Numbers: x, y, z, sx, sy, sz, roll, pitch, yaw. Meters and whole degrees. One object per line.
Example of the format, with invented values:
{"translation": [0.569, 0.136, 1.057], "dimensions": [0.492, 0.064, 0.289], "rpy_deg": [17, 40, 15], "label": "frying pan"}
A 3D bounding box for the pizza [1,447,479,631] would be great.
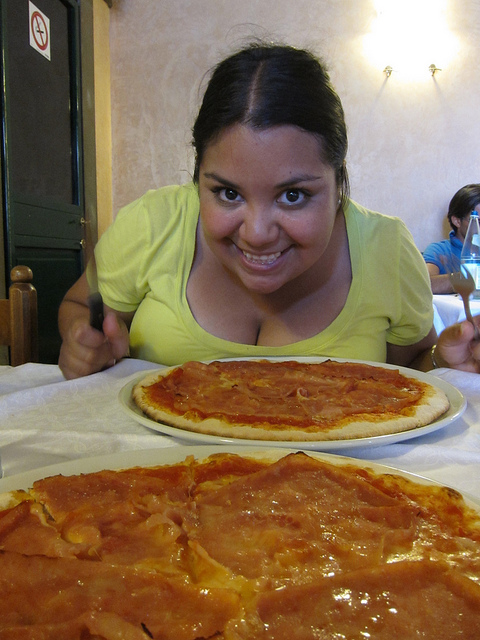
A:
{"translation": [-0.003, 0.147, 0.423], "dimensions": [0.369, 0.039, 0.232], "rpy_deg": [-1, 7, -5], "label": "pizza"}

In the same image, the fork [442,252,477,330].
{"translation": [0.439, -0.061, 1.112], "dimensions": [0.035, 0.179, 0.024], "rpy_deg": [13, -31, -31], "label": "fork"}

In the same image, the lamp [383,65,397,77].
{"translation": [1.072, -1.798, 4.017], "dimensions": [0.089, 0.024, 0.126], "rpy_deg": [0, 4, 3], "label": "lamp"}
